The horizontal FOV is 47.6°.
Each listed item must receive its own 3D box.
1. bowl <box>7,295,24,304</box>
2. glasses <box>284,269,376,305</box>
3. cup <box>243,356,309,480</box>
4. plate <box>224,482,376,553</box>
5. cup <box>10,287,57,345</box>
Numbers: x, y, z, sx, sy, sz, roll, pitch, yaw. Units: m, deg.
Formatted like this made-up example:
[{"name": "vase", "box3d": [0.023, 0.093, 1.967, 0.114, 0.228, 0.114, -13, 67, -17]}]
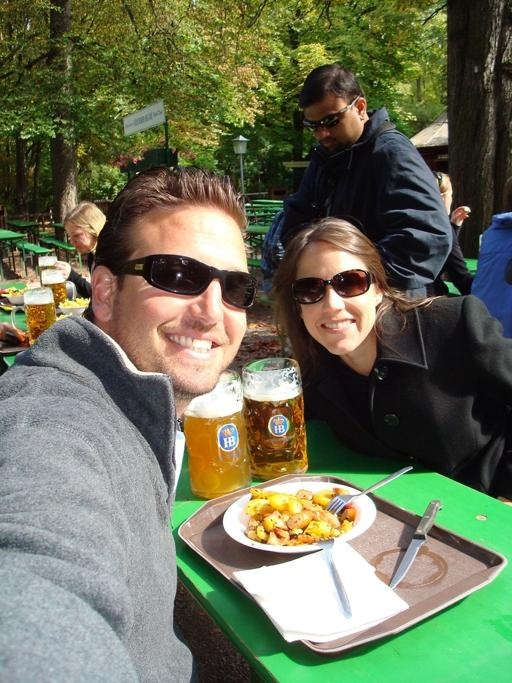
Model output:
[{"name": "bowl", "box3d": [-1.763, -0.304, 4.266, 0.119, 0.049, 0.117, 1, 1, 0]}, {"name": "glasses", "box3d": [0.265, -0.189, 2.021, 0.272, 0.115, 0.092, -3, 11, 3]}, {"name": "cup", "box3d": [0.078, 0.217, 1.739, 0.213, 0.343, 0.186, -6, 12, -21]}, {"name": "plate", "box3d": [0.064, 0.377, 1.309, 0.208, 0.027, 0.173, 3, 12, 39]}, {"name": "cup", "box3d": [-1.118, -0.127, 2.910, 0.273, 0.339, 0.283, -2, 18, 1]}]
